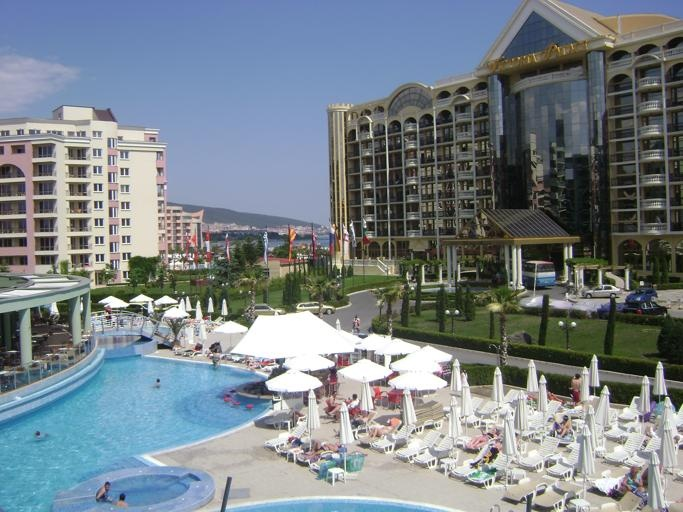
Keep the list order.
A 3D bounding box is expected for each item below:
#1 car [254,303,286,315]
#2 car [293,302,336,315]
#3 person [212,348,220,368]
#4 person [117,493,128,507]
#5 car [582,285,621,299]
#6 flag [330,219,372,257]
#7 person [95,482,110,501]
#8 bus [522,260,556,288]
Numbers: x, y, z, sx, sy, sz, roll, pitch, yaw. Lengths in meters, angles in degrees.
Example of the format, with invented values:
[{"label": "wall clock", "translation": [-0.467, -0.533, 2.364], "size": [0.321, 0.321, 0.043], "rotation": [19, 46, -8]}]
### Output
[{"label": "car", "translation": [-7.367, 5.232, 70.299], "size": [3.876, 1.169, 1.846], "rotation": [-3, 7, 0]}, {"label": "car", "translation": [-2.886, 5.082, 70.534], "size": [4.087, 1.113, 1.780], "rotation": [-3, 5, 8]}, {"label": "person", "translation": [-9.297, 7.414, 51.467], "size": [0.642, 1.108, 1.895], "rotation": [-1, 0, -10]}, {"label": "person", "translation": [-9.451, 10.244, 29.893], "size": [0.460, 0.556, 0.861], "rotation": [-1, 0, -17]}, {"label": "car", "translation": [23.787, 3.202, 64.359], "size": [3.164, 0.919, 1.384], "rotation": [1, 0, 5]}, {"label": "flag", "translation": [1.486, -2.968, 107.357], "size": [6.987, 5.341, 0.892], "rotation": [0, -1, -2]}, {"label": "person", "translation": [-10.458, 10.062, 30.435], "size": [0.578, 0.832, 1.082], "rotation": [-1, 0, -17]}, {"label": "bus", "translation": [20.197, 1.836, 71.946], "size": [2.949, 2.043, 2.645], "rotation": [-1, 0, 16]}]
